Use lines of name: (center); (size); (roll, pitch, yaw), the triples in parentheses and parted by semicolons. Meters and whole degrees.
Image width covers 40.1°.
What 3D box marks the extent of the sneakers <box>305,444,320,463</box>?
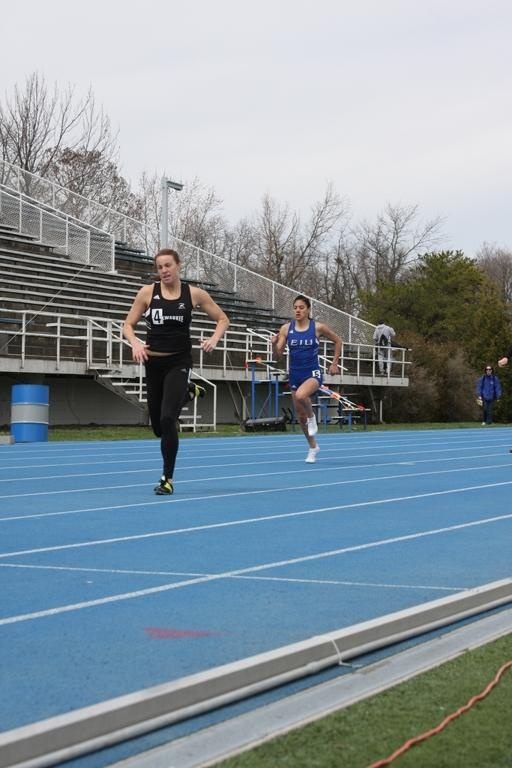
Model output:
sneakers: (0.707, 0.905, 9.155); (0.129, 0.145, 0.379); (0, 31, 23)

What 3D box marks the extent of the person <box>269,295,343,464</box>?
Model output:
person: (0.637, -0.052, 8.935); (0.833, 2.153, 1.488); (1, -1, 6)

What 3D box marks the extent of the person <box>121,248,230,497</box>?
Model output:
person: (-0.676, -0.101, 5.737); (0.830, 1.461, 0.687); (2, -1, -10)

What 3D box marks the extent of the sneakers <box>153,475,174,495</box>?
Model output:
sneakers: (-0.773, 0.872, 5.898); (0.085, 0.152, 0.227); (-12, -16, 35)

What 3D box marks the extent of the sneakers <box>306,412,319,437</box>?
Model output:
sneakers: (0.686, 0.528, 8.903); (0.134, 0.380, 0.158); (-3, 0, 35)

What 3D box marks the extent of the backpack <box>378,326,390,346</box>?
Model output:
backpack: (4.605, -1.740, 25.398); (0.696, 0.713, 0.450); (2, 5, 20)
